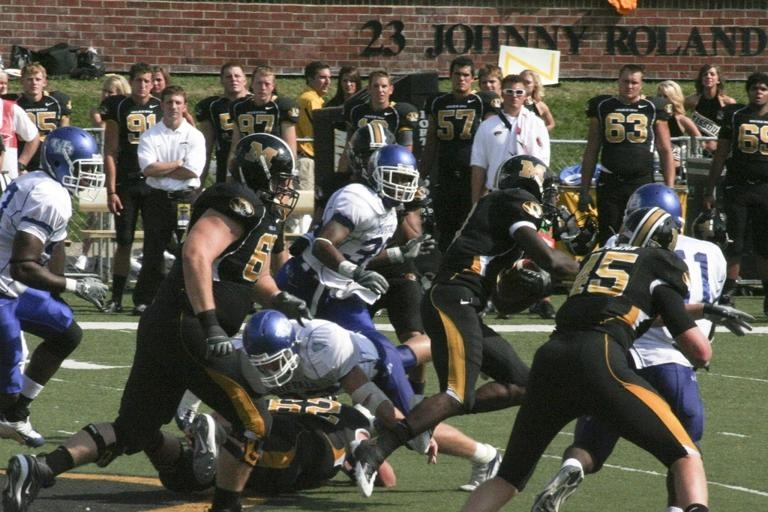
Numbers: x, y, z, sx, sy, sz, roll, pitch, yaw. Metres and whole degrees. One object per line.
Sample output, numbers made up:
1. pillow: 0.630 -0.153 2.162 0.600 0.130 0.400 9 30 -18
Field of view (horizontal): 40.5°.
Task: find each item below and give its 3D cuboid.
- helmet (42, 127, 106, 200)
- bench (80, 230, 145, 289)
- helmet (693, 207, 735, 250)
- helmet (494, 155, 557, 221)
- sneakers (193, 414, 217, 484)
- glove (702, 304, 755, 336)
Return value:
1. helmet: -2.143 -0.687 7.484 0.518 0.411 0.401 12 8 11
2. bench: -3.572 -0.065 13.159 0.482 0.486 0.572 -2 4 24
3. helmet: 3.633 -0.328 11.294 0.453 0.429 0.429 -5 14 -1
4. helmet: 0.964 -0.473 6.910 0.495 0.428 0.360 2 1 -6
5. sneakers: -1.086 1.161 6.275 0.198 0.455 0.160 -2 21 -12
6. glove: 2.031 0.398 6.191 0.294 0.119 0.217 34 23 13
